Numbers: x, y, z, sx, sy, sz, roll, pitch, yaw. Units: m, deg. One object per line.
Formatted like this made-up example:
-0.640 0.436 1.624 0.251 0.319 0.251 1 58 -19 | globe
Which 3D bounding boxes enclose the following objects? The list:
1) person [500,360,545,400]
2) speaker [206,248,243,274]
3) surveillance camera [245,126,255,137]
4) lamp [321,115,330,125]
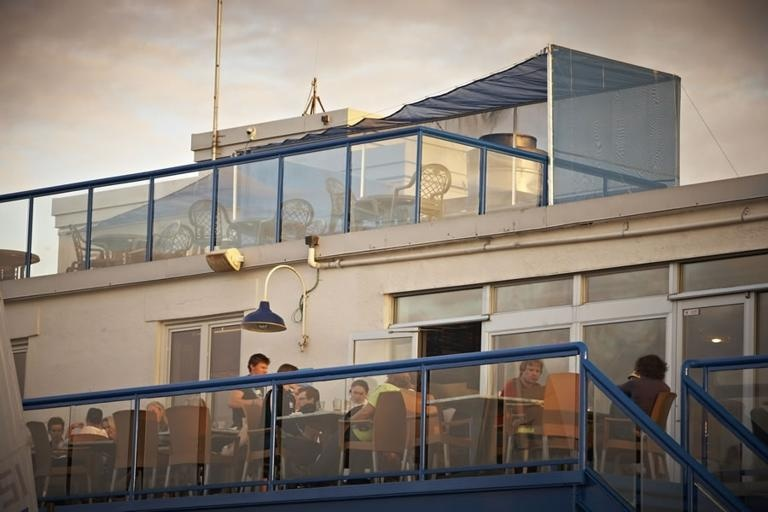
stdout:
2.092 1.782 28.664 0.804 0.622 0.439 9 -7 -27 | person
-2.687 0.067 34.077 0.457 0.327 0.484 17 -15 -38 | speaker
-2.676 -2.569 40.536 0.204 0.173 0.141 5 -2 -10 | surveillance camera
-1.136 -2.777 40.068 0.185 0.131 0.181 10 -13 -41 | lamp
